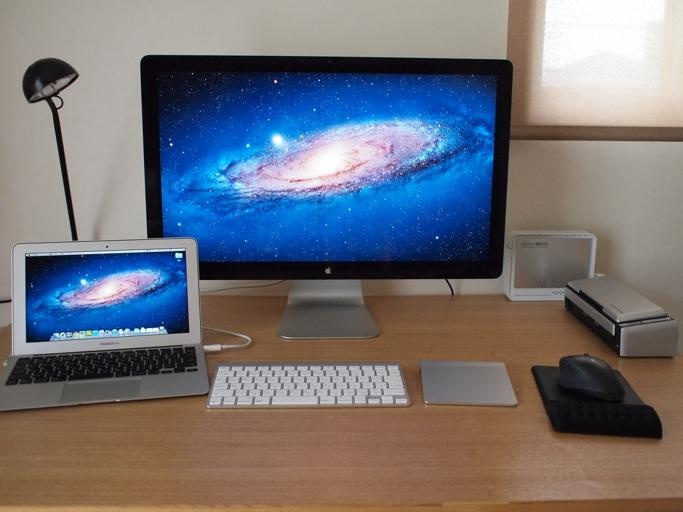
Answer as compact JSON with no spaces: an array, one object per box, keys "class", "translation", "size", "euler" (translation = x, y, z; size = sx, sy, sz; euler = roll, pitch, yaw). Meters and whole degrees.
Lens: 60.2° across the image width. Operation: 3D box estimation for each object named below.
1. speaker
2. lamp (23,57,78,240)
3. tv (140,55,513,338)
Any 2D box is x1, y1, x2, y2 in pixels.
[{"class":"speaker","translation":[0.585,0.030,1.625],"size":[0.176,0.158,0.070],"euler":[0,18,1]},{"class":"lamp","translation":[-0.744,-0.281,1.576],"size":[0.129,0.467,0.265],"euler":[-11,19,-23]},{"class":"tv","translation":[-0.045,-0.160,1.426],"size":[0.678,0.520,0.204],"euler":[0,18,-2]}]
